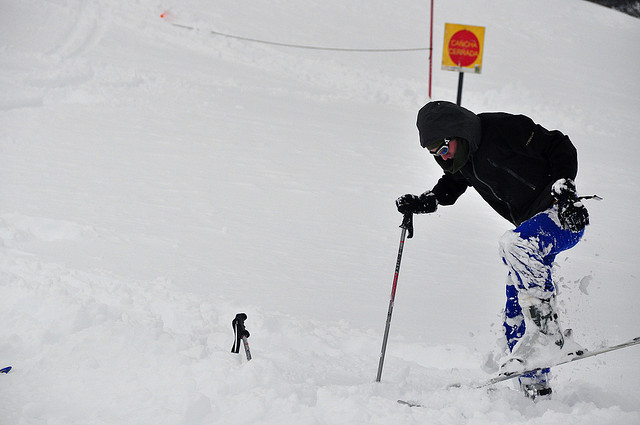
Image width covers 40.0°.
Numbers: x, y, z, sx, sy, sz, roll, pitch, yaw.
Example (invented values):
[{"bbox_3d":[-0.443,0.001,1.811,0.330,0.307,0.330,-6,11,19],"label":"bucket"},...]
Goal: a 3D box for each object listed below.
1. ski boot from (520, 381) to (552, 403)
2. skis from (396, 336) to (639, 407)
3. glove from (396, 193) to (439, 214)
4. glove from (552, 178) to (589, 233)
[{"bbox_3d":[2.604,2.100,10.546,0.230,0.256,0.281,-11,11,-2],"label":"ski boot"},{"bbox_3d":[2.468,1.985,10.802,1.905,0.093,0.267,-18,4,1],"label":"skis"},{"bbox_3d":[1.252,-0.121,11.273,0.434,0.172,0.257,1,27,-11],"label":"glove"},{"bbox_3d":[2.956,-0.108,10.462,0.426,0.623,0.230,-30,-5,16],"label":"glove"}]
